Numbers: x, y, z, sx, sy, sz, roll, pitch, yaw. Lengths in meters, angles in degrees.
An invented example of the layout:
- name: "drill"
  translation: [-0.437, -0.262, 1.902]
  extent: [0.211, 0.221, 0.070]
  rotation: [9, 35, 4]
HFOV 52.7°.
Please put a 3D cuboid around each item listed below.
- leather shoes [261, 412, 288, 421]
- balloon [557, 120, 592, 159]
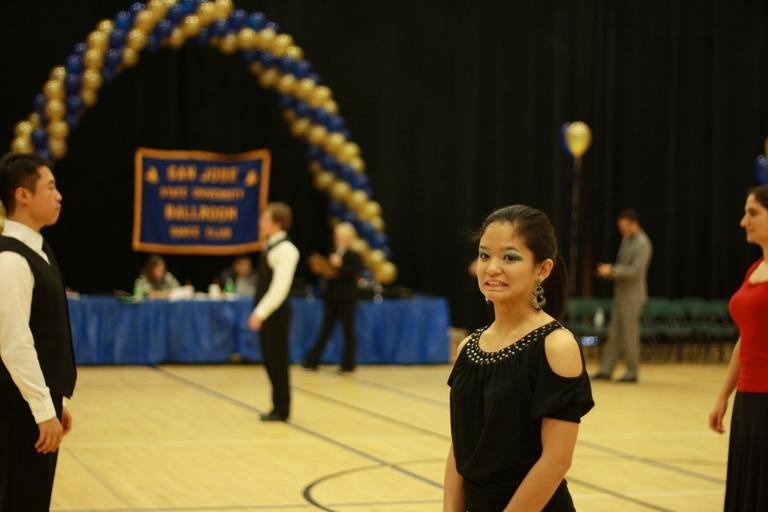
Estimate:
- name: "leather shoes"
  translation: [-1.088, 1.580, 7.623]
  extent: [0.190, 0.073, 0.111]
  rotation: [5, -5, -4]
- name: "balloon"
  translation: [1.480, -0.871, 6.002]
  extent: [0.259, 0.342, 0.161]
  rotation: [-38, 46, -15]
